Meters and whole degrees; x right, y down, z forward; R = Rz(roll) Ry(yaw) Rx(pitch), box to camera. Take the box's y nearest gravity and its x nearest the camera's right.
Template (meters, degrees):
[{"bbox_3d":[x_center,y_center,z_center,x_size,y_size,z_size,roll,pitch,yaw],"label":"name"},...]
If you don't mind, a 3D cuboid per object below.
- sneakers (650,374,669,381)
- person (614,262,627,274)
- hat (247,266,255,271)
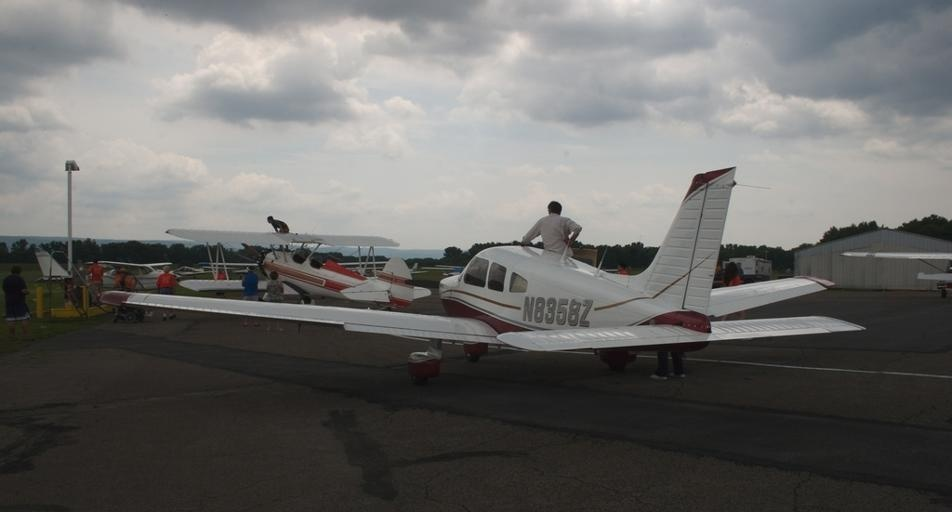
[{"bbox_3d":[4.834,3.192,17.006,0.482,0.165,0.162,1,2,20],"label":"sneakers"},{"bbox_3d":[14.005,1.017,62.142,0.831,0.315,1.072,21,0,-28],"label":"person"},{"bbox_3d":[-10.107,0.573,29.060,0.390,0.143,0.520,1,3,-37],"label":"hat"}]
